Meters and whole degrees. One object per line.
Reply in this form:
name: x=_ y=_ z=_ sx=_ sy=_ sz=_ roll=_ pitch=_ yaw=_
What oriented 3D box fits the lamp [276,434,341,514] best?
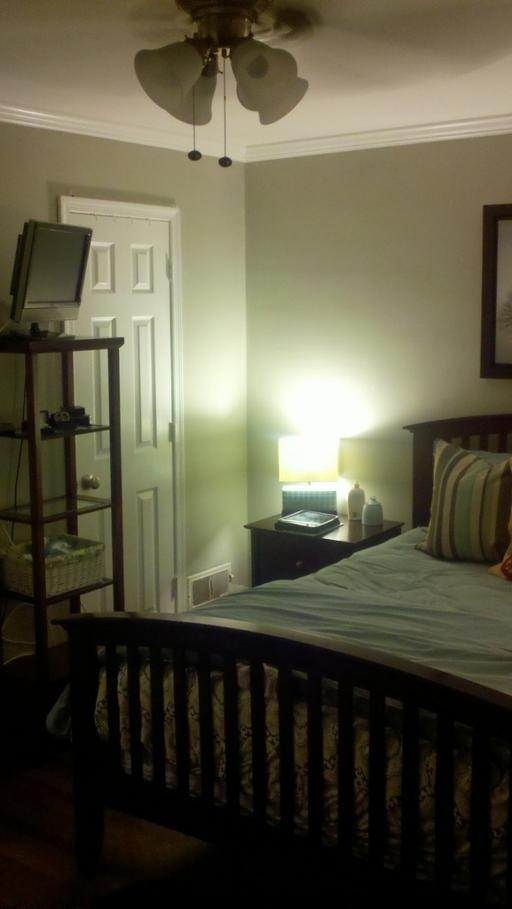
lamp: x=0.275 y=0.094 z=3.656 sx=0.323 sy=0.640 sz=0.197 roll=2 pitch=10 yaw=11

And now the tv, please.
tv: x=-0.736 y=-0.645 z=2.642 sx=0.177 sy=0.352 sz=0.353 roll=2 pitch=10 yaw=26

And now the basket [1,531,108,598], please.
basket: x=-0.771 y=0.425 z=2.828 sx=0.218 sy=0.139 sz=0.286 roll=6 pitch=11 yaw=31
